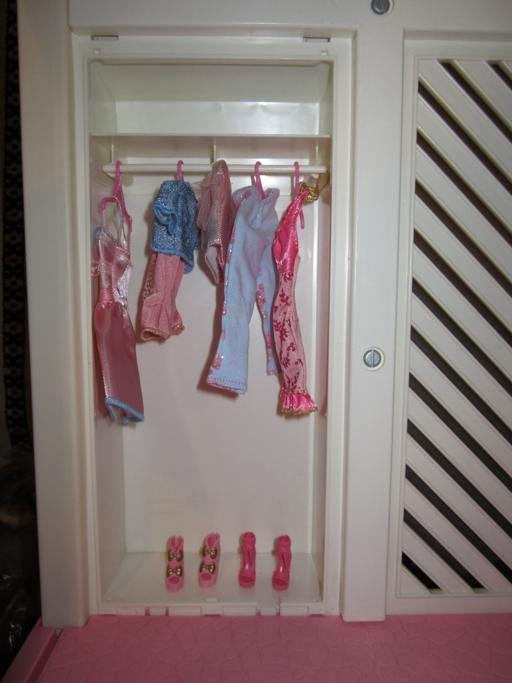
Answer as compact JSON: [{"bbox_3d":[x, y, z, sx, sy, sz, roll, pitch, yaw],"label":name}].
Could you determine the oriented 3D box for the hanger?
[{"bbox_3d":[-0.159,-0.515,2.103,0.711,0.209,0.280,2,8,0],"label":"hanger"}]

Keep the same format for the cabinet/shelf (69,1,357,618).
[{"bbox_3d":[-0.139,-0.076,2.115,0.886,1.940,0.450,1,7,0],"label":"cabinet/shelf"}]

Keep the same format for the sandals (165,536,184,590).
[{"bbox_3d":[-0.292,0.812,2.181,0.049,0.067,0.162,2,28,-3],"label":"sandals"}]
